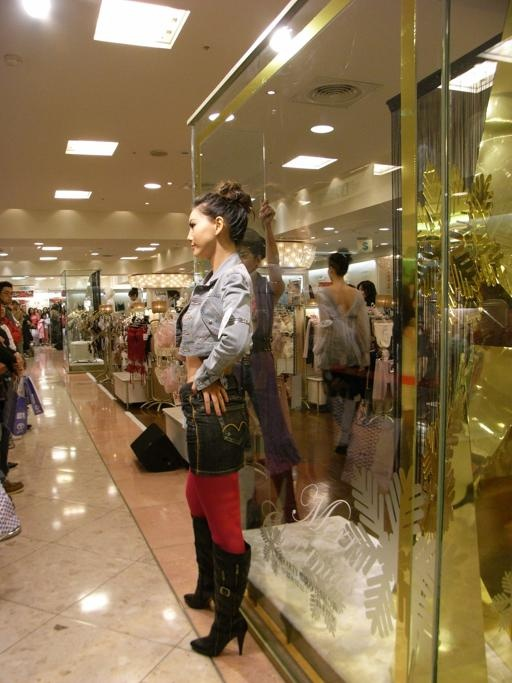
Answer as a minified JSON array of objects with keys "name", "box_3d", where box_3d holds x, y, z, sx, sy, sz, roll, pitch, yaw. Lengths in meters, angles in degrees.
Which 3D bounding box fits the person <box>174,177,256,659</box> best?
[{"name":"person","box_3d":[-0.156,0.300,1.780,0.315,1.852,0.648,-1,1,0]}]

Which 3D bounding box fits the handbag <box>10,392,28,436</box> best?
[{"name":"handbag","box_3d":[-2.010,0.613,3.939,0.138,0.328,0.251,-2,1,-29]}]

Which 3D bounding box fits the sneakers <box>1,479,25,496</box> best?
[{"name":"sneakers","box_3d":[-2.010,1.203,3.817,0.215,0.099,0.076,1,1,-5]}]
